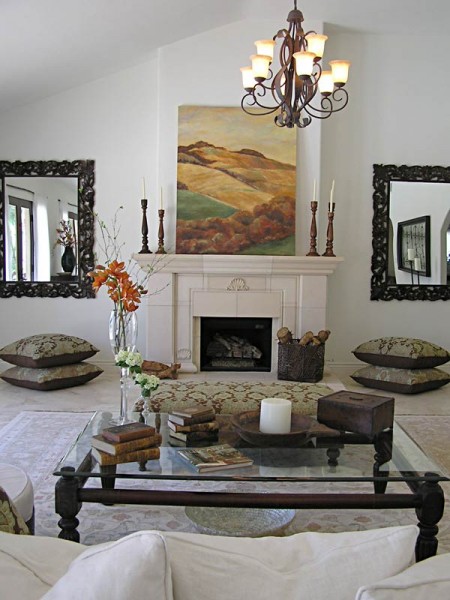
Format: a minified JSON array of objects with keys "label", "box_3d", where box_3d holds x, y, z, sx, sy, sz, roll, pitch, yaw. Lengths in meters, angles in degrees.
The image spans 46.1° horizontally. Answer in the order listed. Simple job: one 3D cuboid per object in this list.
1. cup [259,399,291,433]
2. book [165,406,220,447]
[{"label":"cup","box_3d":[0.167,0.398,1.828,0.116,0.097,0.101,1,4,-2]},{"label":"book","box_3d":[-0.106,0.435,1.830,0.122,0.072,0.118,-1,2,-18]}]
